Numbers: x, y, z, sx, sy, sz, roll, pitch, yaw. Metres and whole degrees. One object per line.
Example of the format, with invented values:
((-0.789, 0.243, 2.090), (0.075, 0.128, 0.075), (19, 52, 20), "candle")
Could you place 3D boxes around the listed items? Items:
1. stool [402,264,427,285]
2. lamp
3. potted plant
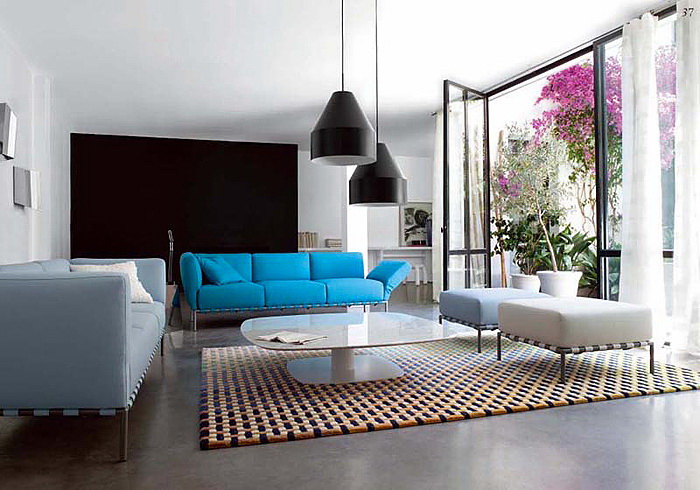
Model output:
((1.441, 0.648, 11.016), (0.536, 0.539, 0.556), (0, 0, -6), "stool")
((0.121, -1.711, 5.821), (0.730, 3.307, 1.643), (-2, -7, 20), "lamp")
((2.922, 0.050, 7.716), (1.454, 1.092, 1.075), (0, -1, -45), "potted plant")
